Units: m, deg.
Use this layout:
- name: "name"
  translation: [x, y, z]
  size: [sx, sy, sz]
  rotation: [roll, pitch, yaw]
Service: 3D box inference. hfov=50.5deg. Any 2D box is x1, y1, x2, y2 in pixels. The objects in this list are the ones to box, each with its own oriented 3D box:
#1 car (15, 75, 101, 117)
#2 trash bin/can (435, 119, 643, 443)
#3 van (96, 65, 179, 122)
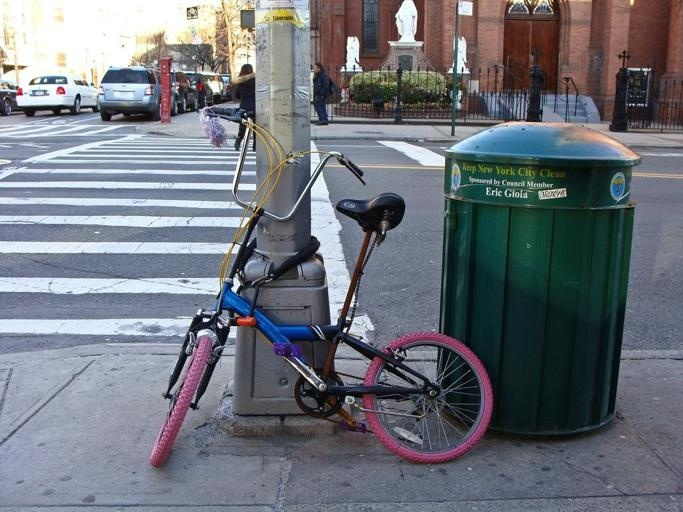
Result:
- name: "car"
  translation: [-12.176, -6.944, 31.165]
  size: [1.537, 1.713, 3.987]
  rotation: [-1, 18, 7]
- name: "trash bin/can"
  translation: [1.170, 0.154, 4.480]
  size: [1.105, 1.834, 0.707]
  rotation: [4, 21, 19]
- name: "van"
  translation: [-7.634, -5.794, 25.996]
  size: [2.039, 1.951, 1.516]
  rotation: [-2, 19, 1]
